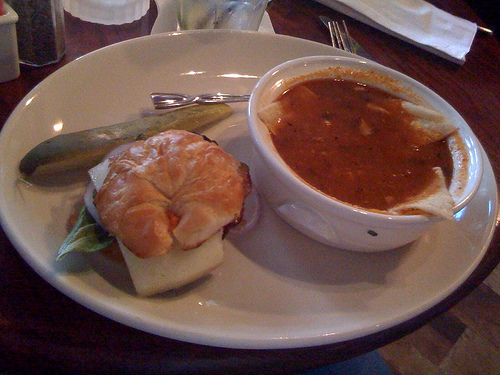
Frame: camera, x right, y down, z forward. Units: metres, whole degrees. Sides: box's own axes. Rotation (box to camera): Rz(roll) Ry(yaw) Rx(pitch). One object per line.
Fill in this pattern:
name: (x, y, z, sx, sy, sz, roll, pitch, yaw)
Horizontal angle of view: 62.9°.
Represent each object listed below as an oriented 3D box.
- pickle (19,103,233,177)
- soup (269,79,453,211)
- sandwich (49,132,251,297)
pickle: (-0.408, -0.187, 1.441, 0.788, 0.123, 0.162, -22, 42, -28)
soup: (0.341, -0.161, 1.413, 0.551, 0.084, 0.492, -11, 46, -26)
sandwich: (-0.221, 0.070, 1.170, 0.558, 0.150, 0.415, -12, 58, -15)
